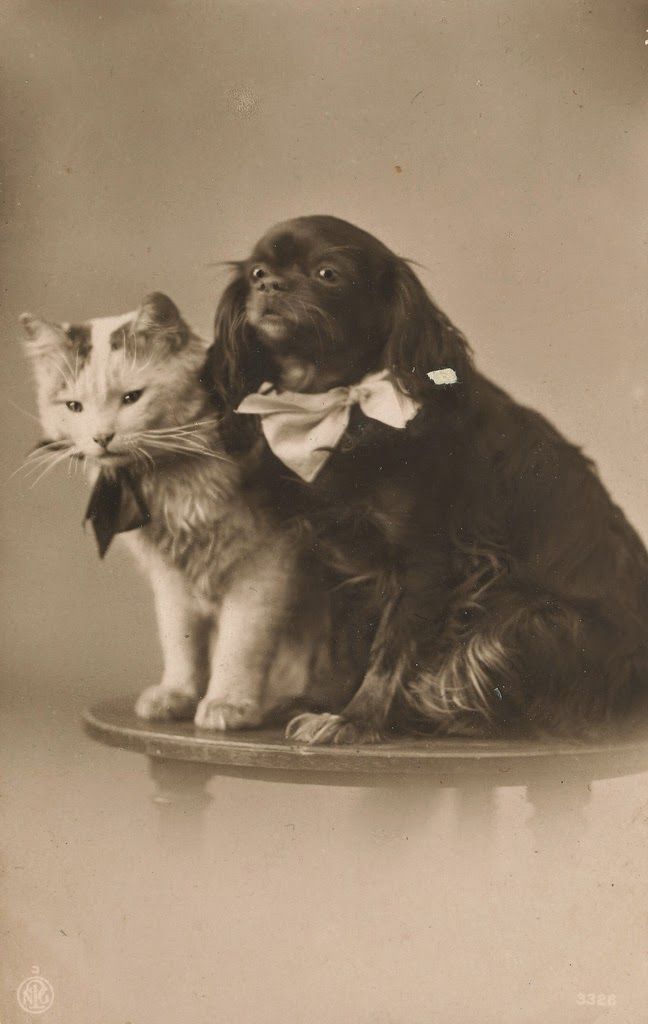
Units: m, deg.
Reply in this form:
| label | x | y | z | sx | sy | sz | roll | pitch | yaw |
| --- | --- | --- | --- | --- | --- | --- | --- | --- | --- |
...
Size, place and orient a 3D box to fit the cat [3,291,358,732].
| label | x | y | z | sx | sy | sz | roll | pitch | yaw |
| --- | --- | --- | --- | --- | --- | --- | --- | --- | --- |
| cat | -0.249 | 0.006 | 2.417 | 0.554 | 0.787 | 0.402 | -8 | 10 | -15 |
